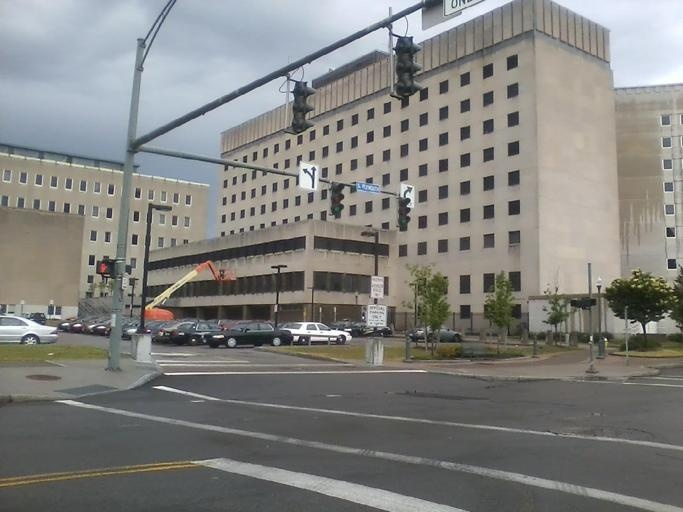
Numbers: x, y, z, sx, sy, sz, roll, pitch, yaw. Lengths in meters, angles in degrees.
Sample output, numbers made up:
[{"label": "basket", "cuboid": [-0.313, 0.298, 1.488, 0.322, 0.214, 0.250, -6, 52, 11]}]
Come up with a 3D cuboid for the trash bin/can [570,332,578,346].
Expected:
[{"label": "trash bin/can", "cuboid": [16.860, 5.995, 52.432, 0.450, 1.005, 1.399, -2, -10, 10]}]

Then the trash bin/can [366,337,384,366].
[{"label": "trash bin/can", "cuboid": [1.532, 4.435, 33.735, 0.781, 1.337, 1.314, 0, -10, -1]}]

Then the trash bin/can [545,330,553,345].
[{"label": "trash bin/can", "cuboid": [15.390, 6.059, 53.304, 0.789, 1.317, 0.834, 0, -2, 8]}]
